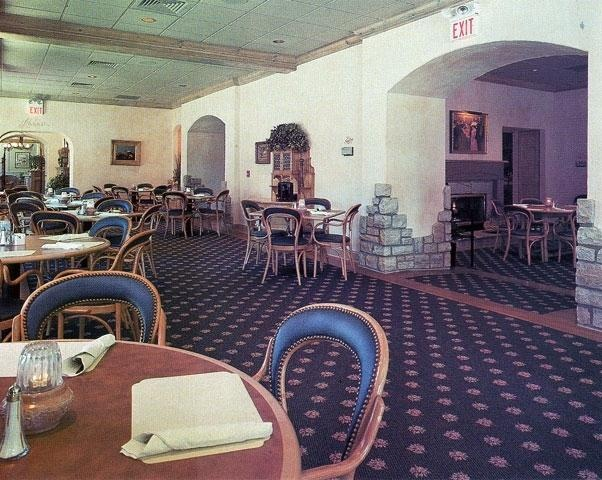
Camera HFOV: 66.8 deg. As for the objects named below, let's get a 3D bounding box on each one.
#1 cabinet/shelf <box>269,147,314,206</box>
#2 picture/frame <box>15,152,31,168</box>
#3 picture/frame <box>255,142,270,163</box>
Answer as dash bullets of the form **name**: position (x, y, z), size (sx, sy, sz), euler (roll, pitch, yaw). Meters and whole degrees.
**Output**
- **cabinet/shelf**: position (-0.223, -1.205, 8.903), size (0.416, 1.104, 1.187), euler (-6, 12, -36)
- **picture/frame**: position (-11.495, -3.309, 18.812), size (0.674, 0.753, 0.051), euler (-1, 4, -39)
- **picture/frame**: position (-0.825, -1.957, 10.074), size (0.071, 0.517, 0.498), euler (-7, 10, -39)
